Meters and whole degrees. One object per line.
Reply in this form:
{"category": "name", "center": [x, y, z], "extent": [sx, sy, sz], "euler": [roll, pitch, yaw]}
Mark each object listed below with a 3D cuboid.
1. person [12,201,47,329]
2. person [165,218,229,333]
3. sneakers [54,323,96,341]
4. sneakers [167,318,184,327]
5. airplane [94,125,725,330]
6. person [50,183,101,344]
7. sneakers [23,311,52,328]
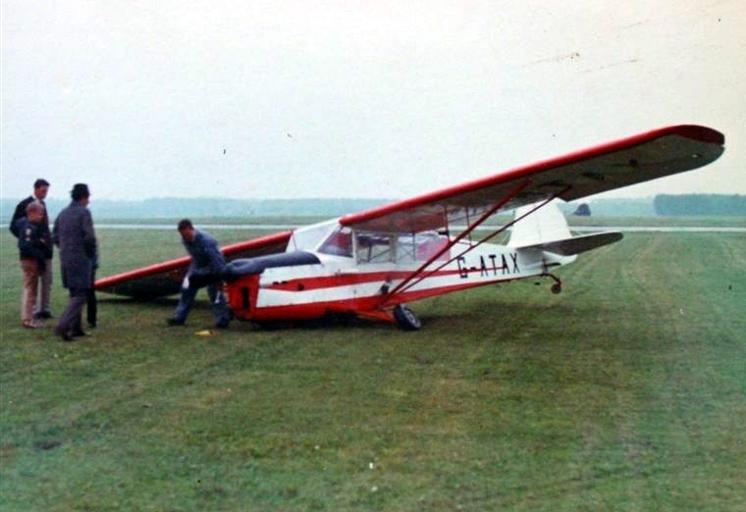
{"category": "person", "center": [-4.623, 0.144, 8.649], "extent": [0.483, 1.702, 0.368], "euler": [5, 9, 42]}
{"category": "person", "center": [-2.475, 0.281, 8.935], "extent": [0.885, 1.571, 1.049], "euler": [-3, 7, -19]}
{"category": "sneakers", "center": [-3.922, 1.011, 8.295], "extent": [0.155, 0.180, 0.497], "euler": [33, 21, 27]}
{"category": "sneakers", "center": [-2.931, 0.979, 9.318], "extent": [0.278, 0.101, 0.085], "euler": [13, 38, -14]}
{"category": "airplane", "center": [0.510, -0.470, 11.551], "extent": [9.688, 2.656, 7.310], "euler": [1, 6, 17]}
{"category": "person", "center": [-3.908, 0.212, 8.264], "extent": [0.550, 1.718, 0.505], "euler": [-3, 7, -18]}
{"category": "sneakers", "center": [-4.804, 0.937, 8.885], "extent": [0.393, 0.135, 0.142], "euler": [-6, 2, 17]}
